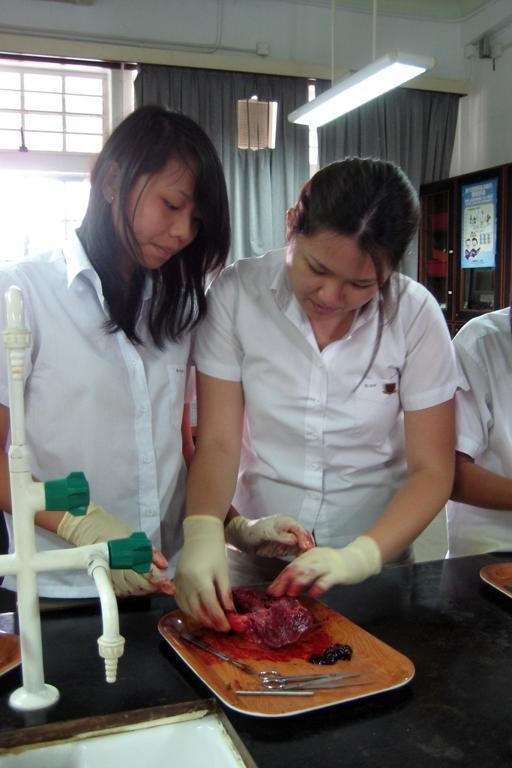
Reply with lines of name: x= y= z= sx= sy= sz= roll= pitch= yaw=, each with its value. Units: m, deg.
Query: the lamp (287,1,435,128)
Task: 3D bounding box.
lamp: x=0.765 y=-2.545 z=4.686 sx=0.535 sy=0.158 sz=1.903 roll=-9 pitch=7 yaw=-20

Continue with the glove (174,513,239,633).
glove: x=-0.091 y=0.333 z=1.063 sx=0.065 sy=0.216 sz=0.065 roll=-29 pitch=-31 yaw=30

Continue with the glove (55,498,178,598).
glove: x=-0.258 y=0.286 z=1.046 sx=0.251 sy=0.163 sz=0.104 roll=8 pitch=18 yaw=13
